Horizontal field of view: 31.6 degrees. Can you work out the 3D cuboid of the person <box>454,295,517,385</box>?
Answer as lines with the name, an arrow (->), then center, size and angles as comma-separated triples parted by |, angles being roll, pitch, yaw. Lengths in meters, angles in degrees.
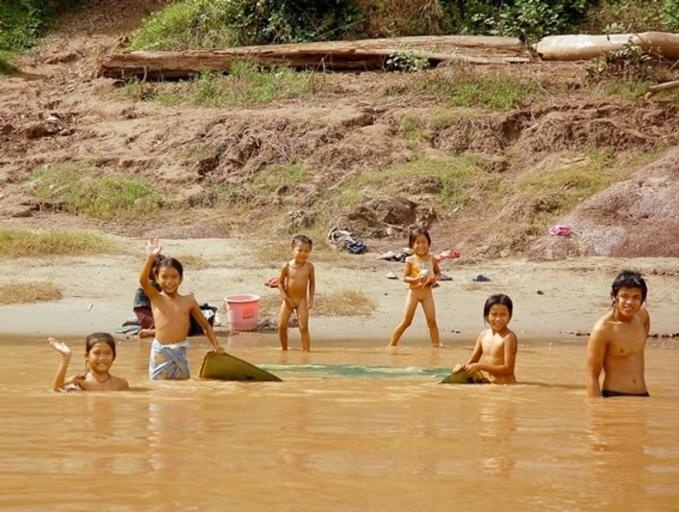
person -> 2.009, 1.212, 16.209 | 0.821, 1.291, 0.781 | 3, 5, 23

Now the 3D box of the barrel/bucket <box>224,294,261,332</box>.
barrel/bucket -> -1.530, 0.913, 18.881 | 0.567, 0.420, 0.564 | 0, 3, 0

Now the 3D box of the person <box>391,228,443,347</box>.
person -> 1.151, 0.478, 18.319 | 0.771, 1.738, 0.754 | -1, 8, 4

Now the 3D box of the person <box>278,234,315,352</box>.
person -> -0.664, 0.571, 18.055 | 0.542, 1.681, 0.630 | -2, 8, -1

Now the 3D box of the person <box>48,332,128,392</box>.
person -> -3.447, 1.492, 16.321 | 0.771, 0.789, 0.245 | 1, -11, -19

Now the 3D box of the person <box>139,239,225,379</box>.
person -> -2.238, 0.918, 16.305 | 1.053, 2.126, 0.651 | 5, -11, -26

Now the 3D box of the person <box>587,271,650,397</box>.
person -> 3.625, 1.032, 15.539 | 0.772, 1.624, 0.422 | 0, 8, 13
